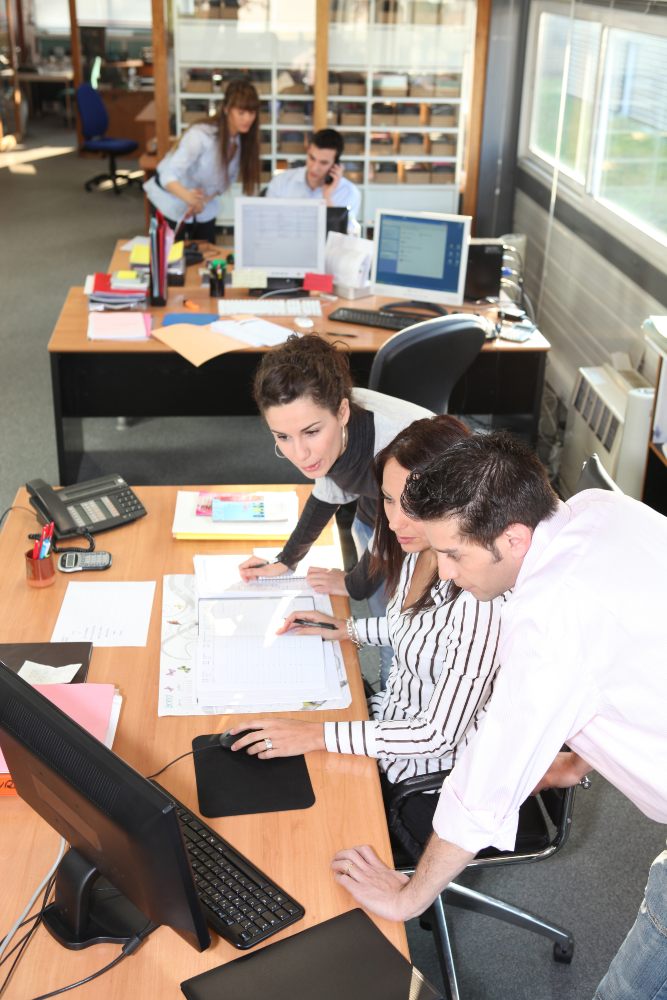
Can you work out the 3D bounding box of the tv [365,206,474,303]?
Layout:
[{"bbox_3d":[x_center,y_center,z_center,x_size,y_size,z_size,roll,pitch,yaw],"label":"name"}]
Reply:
[{"bbox_3d":[0.455,-1.283,3.808,0.656,0.592,0.244,11,32,12],"label":"tv"}]

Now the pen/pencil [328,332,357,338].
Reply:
[{"bbox_3d":[0.041,-0.795,3.442,0.142,0.023,0.021,8,12,30],"label":"pen/pencil"}]

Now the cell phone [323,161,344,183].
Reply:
[{"bbox_3d":[0.002,-2.059,4.535,0.040,0.140,0.098,5,26,-15],"label":"cell phone"}]

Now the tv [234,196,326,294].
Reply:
[{"bbox_3d":[-0.289,-1.366,3.831,0.488,0.502,0.180,0,29,-2],"label":"tv"}]

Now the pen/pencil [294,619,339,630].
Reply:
[{"bbox_3d":[-0.044,0.284,1.655,0.061,0.018,0.013,12,-6,1],"label":"pen/pencil"}]

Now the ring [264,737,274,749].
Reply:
[{"bbox_3d":[-0.120,0.439,1.305,0.012,0.013,0.023,-1,58,-3],"label":"ring"}]

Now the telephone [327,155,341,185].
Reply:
[{"bbox_3d":[0.004,-2.067,4.524,0.038,0.145,0.100,14,29,25],"label":"telephone"}]

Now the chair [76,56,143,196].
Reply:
[{"bbox_3d":[-2.699,-4.327,8.569,0.632,1.110,0.629,26,40,29],"label":"chair"}]

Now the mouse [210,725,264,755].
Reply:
[{"bbox_3d":[-0.189,0.440,1.329,0.070,0.019,0.042,-5,36,-10],"label":"mouse"}]
